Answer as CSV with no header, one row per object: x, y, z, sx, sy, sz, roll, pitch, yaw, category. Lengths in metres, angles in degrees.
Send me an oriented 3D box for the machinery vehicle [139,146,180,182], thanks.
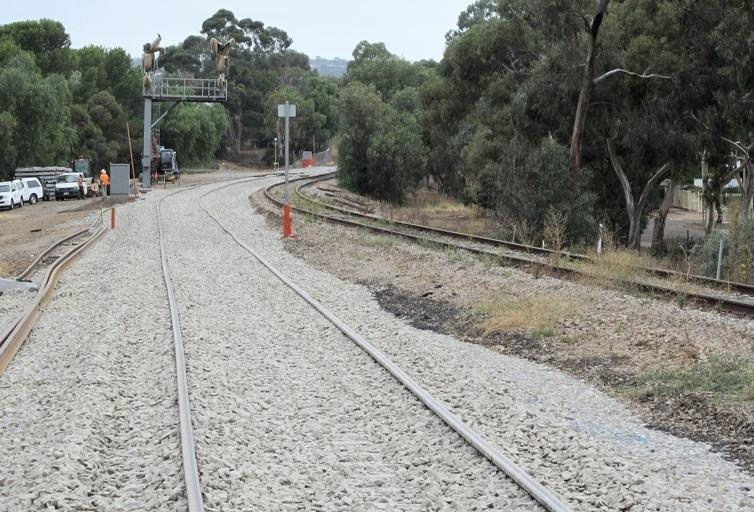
-20.169,-8.576,62.207,2.101,2.524,4.518,2,13,-1,machinery vehicle

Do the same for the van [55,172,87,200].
-22.709,-5.308,48.775,1.358,1.610,2.742,-2,-5,-9,van
